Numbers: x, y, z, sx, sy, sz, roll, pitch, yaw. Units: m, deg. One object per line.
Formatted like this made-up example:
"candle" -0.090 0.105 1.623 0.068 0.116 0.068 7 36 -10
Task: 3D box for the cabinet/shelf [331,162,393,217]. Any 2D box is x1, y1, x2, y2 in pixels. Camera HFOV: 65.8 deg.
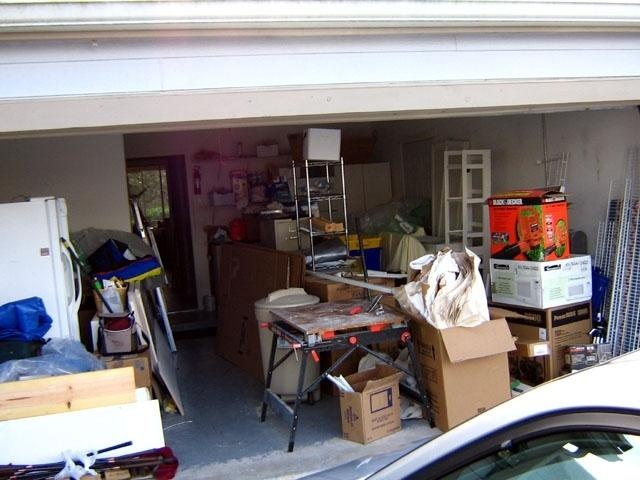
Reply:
"cabinet/shelf" 0.694 -0.853 8.450 1.068 0.990 0.341 -4 -2 -32

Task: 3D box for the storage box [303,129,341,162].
"storage box" 0.020 -1.106 5.645 0.386 0.366 0.377 0 1 -14

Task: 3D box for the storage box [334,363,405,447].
"storage box" 0.445 1.372 4.158 0.519 0.504 0.375 -2 -4 -36

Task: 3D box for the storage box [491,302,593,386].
"storage box" 1.942 0.904 4.317 0.562 0.791 0.824 -5 6 -31

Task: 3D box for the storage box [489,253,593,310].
"storage box" 2.087 0.315 4.751 0.625 0.370 0.610 -6 8 -32

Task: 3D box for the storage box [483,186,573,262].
"storage box" 2.053 -0.167 4.839 0.710 0.630 0.619 -6 3 -43

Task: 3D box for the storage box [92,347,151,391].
"storage box" -1.721 1.100 4.335 0.382 0.237 0.385 -2 0 -5
